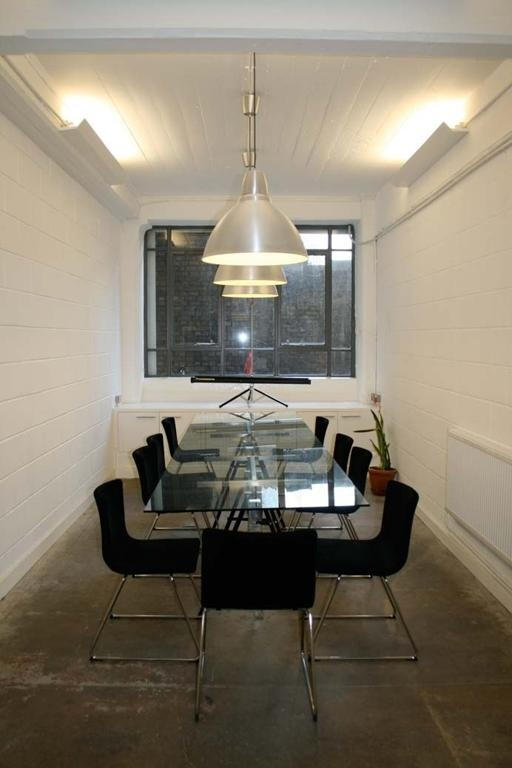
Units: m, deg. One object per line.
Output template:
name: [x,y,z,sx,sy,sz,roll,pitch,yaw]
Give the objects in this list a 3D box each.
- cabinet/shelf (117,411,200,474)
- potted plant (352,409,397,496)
cabinet/shelf: [-0.859,0.455,4.390,0.575,0.613,0.240,0,0,-1]
potted plant: [1.197,0.652,5.024,0.381,0.820,0.274,6,2,2]
